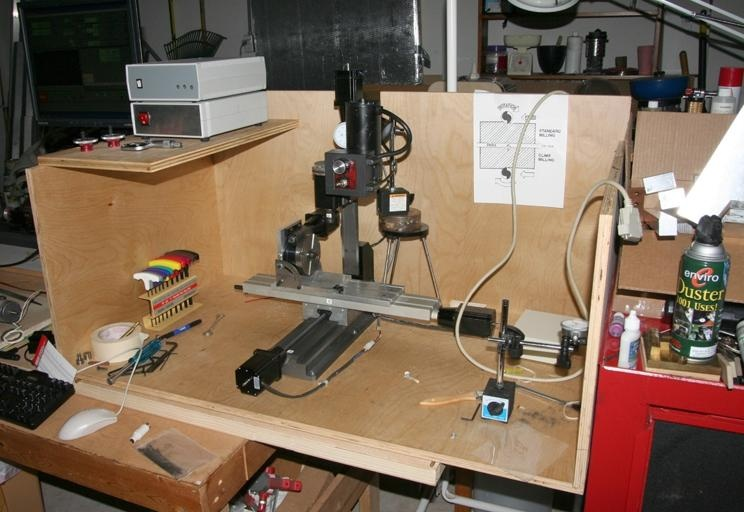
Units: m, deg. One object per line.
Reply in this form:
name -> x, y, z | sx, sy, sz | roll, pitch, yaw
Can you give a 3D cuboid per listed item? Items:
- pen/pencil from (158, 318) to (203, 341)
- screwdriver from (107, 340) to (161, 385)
pen/pencil -> -0.772, 0.300, 2.259 | 0.026, 0.025, 0.188 | 14, 25, 37
screwdriver -> -0.855, 0.378, 2.060 | 0.065, 0.063, 0.235 | -29, 7, 37
